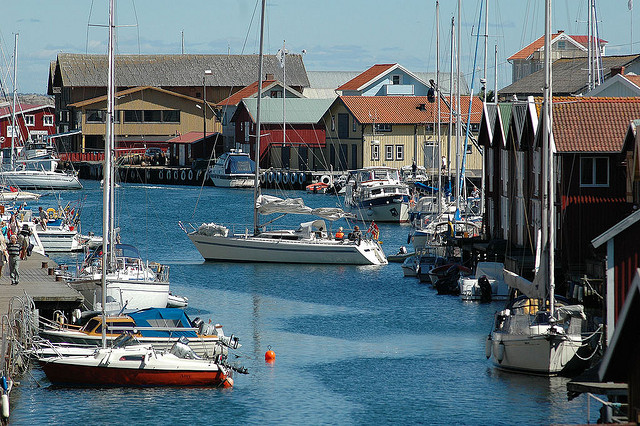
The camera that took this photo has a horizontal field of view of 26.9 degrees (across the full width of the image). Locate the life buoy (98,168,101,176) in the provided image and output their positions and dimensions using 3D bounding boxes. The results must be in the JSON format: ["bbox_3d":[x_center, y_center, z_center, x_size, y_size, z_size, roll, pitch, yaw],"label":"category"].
[{"bbox_3d":[-22.210,-4.141,134.816,0.096,0.755,0.513,-2,3,-17],"label":"life buoy"}]

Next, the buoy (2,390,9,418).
[{"bbox_3d":[-11.943,7.257,50.941,0.201,0.961,0.315,-1,3,-5],"label":"buoy"}]

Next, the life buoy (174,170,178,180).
[{"bbox_3d":[-13.949,-3.722,130.073,0.178,0.907,0.505,-3,3,-39],"label":"life buoy"}]

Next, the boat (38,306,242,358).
[{"bbox_3d":[-7.052,4.919,56.309,9.036,2.662,3.056,5,-4,-5],"label":"boat"}]

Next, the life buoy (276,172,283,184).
[{"bbox_3d":[-3.631,-3.083,119.300,0.557,0.847,0.289,-1,5,25],"label":"life buoy"}]

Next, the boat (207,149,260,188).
[{"bbox_3d":[-7.969,-4.365,123.689,3.280,3.062,7.452,-1,0,-17],"label":"boat"}]

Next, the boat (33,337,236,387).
[{"bbox_3d":[-7.620,6.414,54.955,7.532,2.278,2.921,5,-5,-5],"label":"boat"}]

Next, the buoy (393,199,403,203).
[{"bbox_3d":[5.300,-0.839,92.124,0.365,0.146,0.281,-1,7,-18],"label":"buoy"}]

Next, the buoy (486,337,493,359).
[{"bbox_3d":[7.106,5.645,56.365,0.245,0.789,0.218,-1,3,-3],"label":"buoy"}]

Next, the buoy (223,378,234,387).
[{"bbox_3d":[-3.705,6.858,54.588,0.476,0.349,0.188,-3,4,-40],"label":"buoy"}]

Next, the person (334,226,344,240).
[{"bbox_3d":[1.107,1.130,75.952,0.524,1.082,0.642,1,4,-20],"label":"person"}]

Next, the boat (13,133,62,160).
[{"bbox_3d":[-25.961,-5.943,123.447,3.492,3.334,6.383,-1,1,-15],"label":"boat"}]

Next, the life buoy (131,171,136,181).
[{"bbox_3d":[-18.548,-3.728,133.488,0.469,0.873,0.158,-1,3,3],"label":"life buoy"}]

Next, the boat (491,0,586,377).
[{"bbox_3d":[9.058,-1.128,55.704,3.467,15.624,5.110,0,3,11],"label":"boat"}]

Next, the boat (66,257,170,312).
[{"bbox_3d":[-9.044,3.301,61.979,2.043,1.931,4.320,-2,-5,39],"label":"boat"}]

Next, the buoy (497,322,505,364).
[{"bbox_3d":[7.513,5.732,55.881,0.301,1.052,0.172,0,3,26],"label":"buoy"}]

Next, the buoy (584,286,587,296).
[{"bbox_3d":[11.321,3.331,57.330,0.089,0.378,0.210,-2,3,-14],"label":"buoy"}]

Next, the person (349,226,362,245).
[{"bbox_3d":[2.031,1.324,75.056,0.502,0.971,0.909,1,-3,5],"label":"person"}]

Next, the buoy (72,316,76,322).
[{"bbox_3d":[-10.721,4.604,58.489,0.142,0.257,0.157,0,3,-15],"label":"buoy"}]

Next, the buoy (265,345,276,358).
[{"bbox_3d":[-2.107,5.943,57.418,0.345,0.531,0.362,-2,5,-21],"label":"buoy"}]

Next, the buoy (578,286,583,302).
[{"bbox_3d":[11.210,3.474,57.832,0.168,0.633,0.488,-1,3,0],"label":"buoy"}]

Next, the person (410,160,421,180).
[{"bbox_3d":[7.380,-3.257,104.078,0.684,1.245,2.273,-1,3,9],"label":"person"}]

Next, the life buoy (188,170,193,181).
[{"bbox_3d":[-12.397,-3.625,128.776,0.600,1.017,0.193,2,4,45],"label":"life buoy"}]
